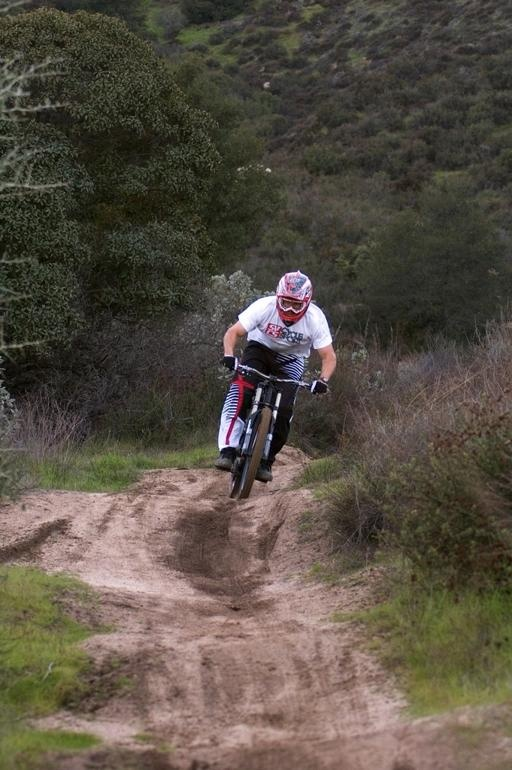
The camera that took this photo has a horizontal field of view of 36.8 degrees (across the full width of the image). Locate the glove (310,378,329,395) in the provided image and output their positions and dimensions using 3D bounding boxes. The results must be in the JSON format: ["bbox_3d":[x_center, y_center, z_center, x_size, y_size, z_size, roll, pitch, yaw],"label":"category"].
[{"bbox_3d":[0.526,0.019,6.368,0.105,0.082,0.143,18,7,-14],"label":"glove"}]

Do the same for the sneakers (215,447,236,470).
[{"bbox_3d":[-0.262,0.645,6.662,0.158,0.201,0.251,6,6,3],"label":"sneakers"}]

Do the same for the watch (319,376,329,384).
[{"bbox_3d":[0.574,-0.044,6.460,0.053,0.078,0.083,-1,-10,-3],"label":"watch"}]

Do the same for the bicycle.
[{"bbox_3d":[0.041,0.279,7.148,0.874,1.100,1.792,17,12,-2],"label":"bicycle"}]

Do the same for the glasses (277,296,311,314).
[{"bbox_3d":[0.312,-0.669,6.624,0.155,0.124,0.200,8,-3,7],"label":"glasses"}]

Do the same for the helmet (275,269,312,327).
[{"bbox_3d":[0.317,-0.777,6.665,0.294,0.414,0.429,9,42,7],"label":"helmet"}]

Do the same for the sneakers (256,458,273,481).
[{"bbox_3d":[0.069,0.725,6.635,0.149,0.192,0.449,0,-10,3],"label":"sneakers"}]
